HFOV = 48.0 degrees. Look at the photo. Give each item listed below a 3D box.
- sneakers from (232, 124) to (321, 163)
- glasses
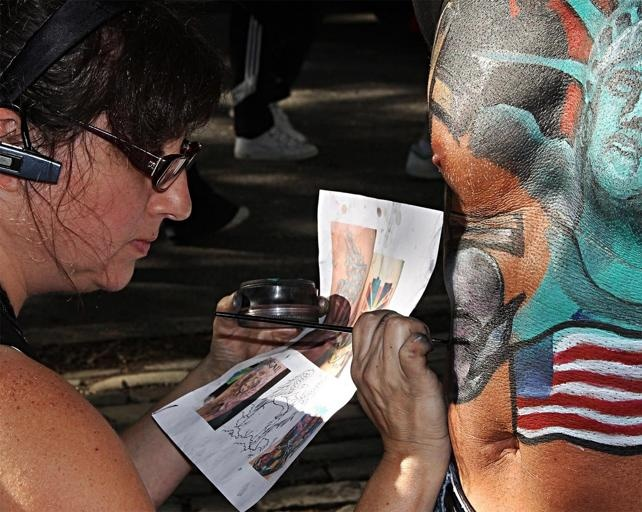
[{"bbox_3d":[-0.158,-0.396,2.565,0.304,0.099,0.101,-1,27,-4],"label":"sneakers"},{"bbox_3d":[-0.403,-0.194,1.303,0.193,0.167,0.052,20,96,3],"label":"glasses"}]
